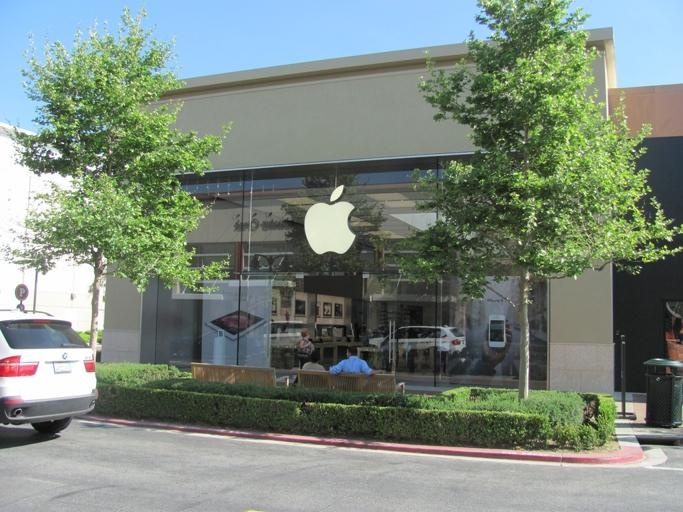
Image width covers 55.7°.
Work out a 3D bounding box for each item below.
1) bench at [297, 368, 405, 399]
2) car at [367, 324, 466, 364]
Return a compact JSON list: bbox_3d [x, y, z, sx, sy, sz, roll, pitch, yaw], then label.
[{"bbox_3d":[0.079,3.035,15.707,2.376,0.463,0.407,2,2,10],"label":"bench"},{"bbox_3d":[2.450,2.705,20.151,3.057,1.186,1.249,-1,-3,12],"label":"car"}]
